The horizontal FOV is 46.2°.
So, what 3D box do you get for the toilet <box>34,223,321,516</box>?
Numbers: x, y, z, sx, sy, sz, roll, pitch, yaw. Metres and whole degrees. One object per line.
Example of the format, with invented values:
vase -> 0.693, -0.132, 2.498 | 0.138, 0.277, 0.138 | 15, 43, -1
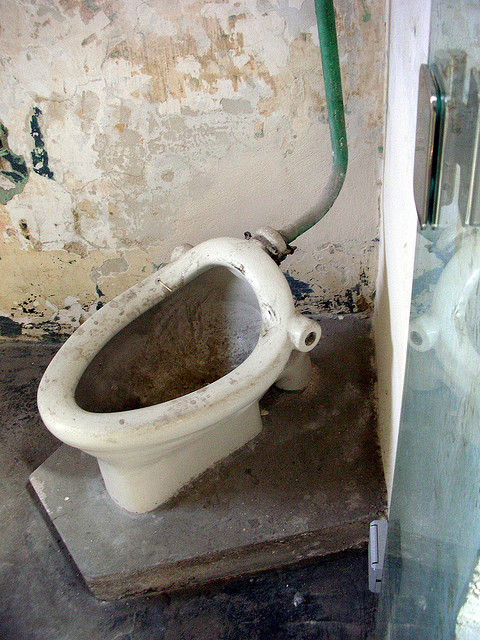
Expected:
toilet -> -0.116, 0.092, 1.256 | 0.637, 0.454, 0.450 | -29, 47, -28
